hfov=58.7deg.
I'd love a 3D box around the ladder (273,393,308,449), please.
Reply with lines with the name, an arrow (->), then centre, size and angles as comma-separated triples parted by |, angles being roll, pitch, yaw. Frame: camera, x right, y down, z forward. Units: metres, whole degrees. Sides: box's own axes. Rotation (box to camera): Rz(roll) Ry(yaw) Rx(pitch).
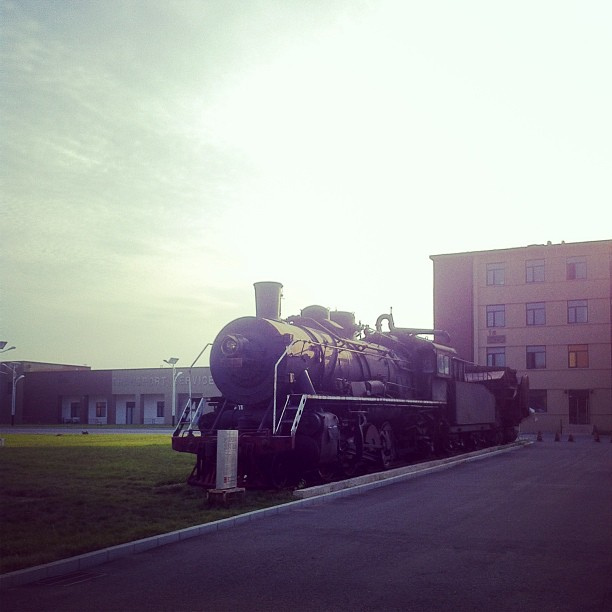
ladder -> -0.320, 2.493, 11.636 | 0.320, 0.391, 1.159 | 2, 25, 13
